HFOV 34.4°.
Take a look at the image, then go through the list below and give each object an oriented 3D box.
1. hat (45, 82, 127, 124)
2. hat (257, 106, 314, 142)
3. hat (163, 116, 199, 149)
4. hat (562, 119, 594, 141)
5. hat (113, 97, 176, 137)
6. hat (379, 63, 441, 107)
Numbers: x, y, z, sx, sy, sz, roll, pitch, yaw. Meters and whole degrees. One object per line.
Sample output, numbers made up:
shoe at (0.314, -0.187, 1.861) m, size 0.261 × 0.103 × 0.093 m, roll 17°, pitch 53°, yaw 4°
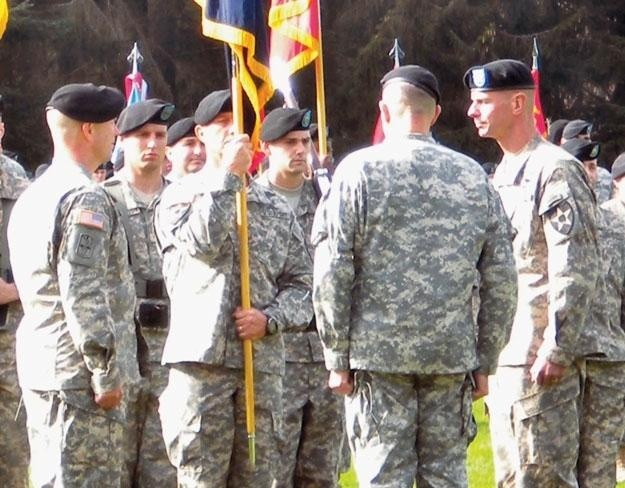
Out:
hat at (-1.449, -0.896, 6.348) m, size 0.325 × 0.134 × 0.307 m, roll 0°, pitch 22°, yaw 15°
hat at (-0.211, -0.916, 7.568) m, size 0.282 × 0.121 × 0.278 m, roll -20°, pitch 3°, yaw 26°
hat at (-1.081, -0.967, 8.304) m, size 0.242 × 0.077 × 0.244 m, roll -26°, pitch 5°, yaw 39°
hat at (2.987, -1.284, 11.191) m, size 0.402 × 0.227 × 0.296 m, roll -9°, pitch 3°, yaw -16°
hat at (-1.316, -0.964, 7.764) m, size 0.356 × 0.153 × 0.277 m, roll -10°, pitch 2°, yaw 19°
hat at (0.600, -1.027, 6.227) m, size 0.344 × 0.321 × 0.311 m, roll -2°, pitch -16°, yaw 10°
